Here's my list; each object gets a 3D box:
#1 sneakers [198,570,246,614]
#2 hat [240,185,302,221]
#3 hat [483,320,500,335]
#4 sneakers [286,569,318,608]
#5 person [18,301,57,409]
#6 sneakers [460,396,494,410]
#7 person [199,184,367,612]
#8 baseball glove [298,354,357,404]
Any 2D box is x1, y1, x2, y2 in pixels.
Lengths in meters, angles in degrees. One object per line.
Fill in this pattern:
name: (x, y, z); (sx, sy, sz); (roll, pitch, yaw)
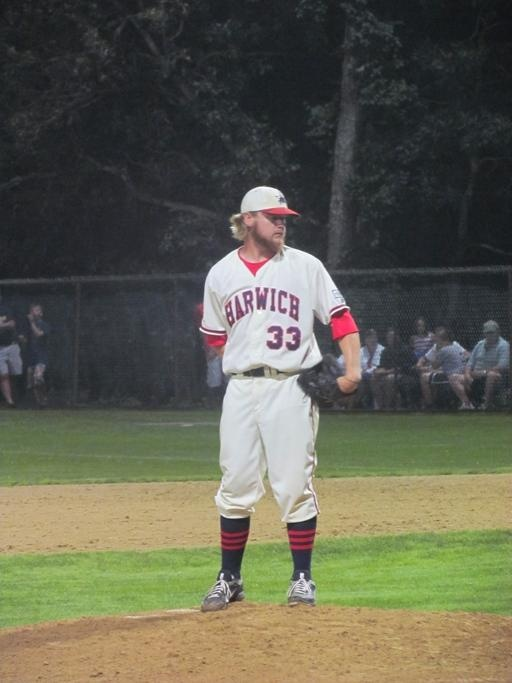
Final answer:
sneakers: (-0.202, 1.535, 9.431); (0.115, 0.182, 0.346); (2, -1, 22)
hat: (0.055, -0.867, 9.687); (0.271, 0.167, 0.181); (-2, 0, 28)
hat: (2.678, -0.166, 17.746); (0.118, 0.165, 0.177); (3, 1, 15)
sneakers: (0.278, 1.529, 9.504); (0.130, 0.178, 0.364); (1, -15, 1)
person: (-2.724, 0.181, 18.996); (0.367, 1.239, 0.405); (0, 1, 2)
sneakers: (2.491, 0.717, 17.610); (0.374, 0.156, 0.155); (0, 1, 9)
person: (0.129, 0.333, 9.584); (0.934, 2.602, 0.463); (0, 1, -4)
baseball glove: (0.433, 0.258, 9.574); (0.241, 0.295, 0.381); (0, 0, 22)
